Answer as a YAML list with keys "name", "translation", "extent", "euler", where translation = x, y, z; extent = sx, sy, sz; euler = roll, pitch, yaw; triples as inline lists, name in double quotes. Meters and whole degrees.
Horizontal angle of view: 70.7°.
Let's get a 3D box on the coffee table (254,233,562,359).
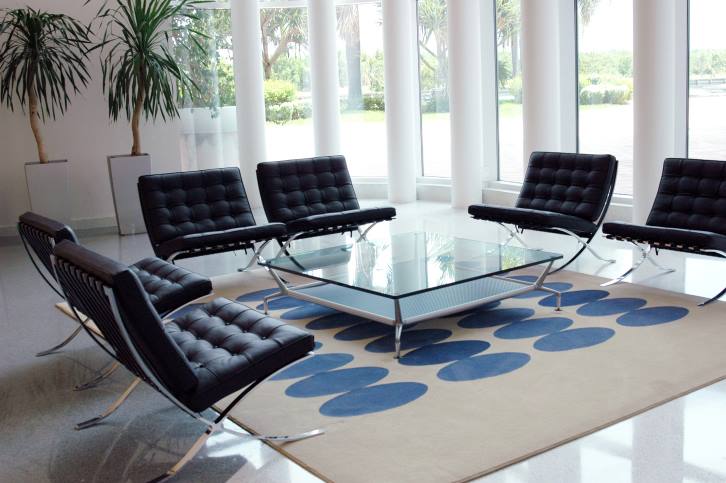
- name: "coffee table"
  translation: [0.569, 0.263, 4.296]
  extent: [1.615, 0.271, 1.462]
  euler: [-8, 11, -40]
